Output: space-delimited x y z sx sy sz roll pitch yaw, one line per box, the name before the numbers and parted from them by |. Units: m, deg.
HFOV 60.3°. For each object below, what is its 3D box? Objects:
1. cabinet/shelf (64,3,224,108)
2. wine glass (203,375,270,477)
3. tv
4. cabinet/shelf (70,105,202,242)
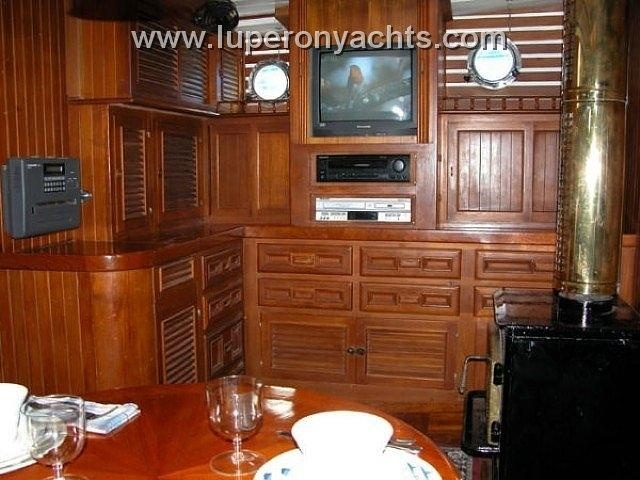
cabinet/shelf | -0.958 -1.008 3.131 0.382 0.514 0.869 4 11 34
wine glass | -0.181 0.392 1.185 0.120 0.171 0.134 -4 9 -7
tv | 0.321 -0.959 3.567 0.701 0.550 0.391 4 21 11
cabinet/shelf | -1.058 -0.390 3.315 0.256 0.691 1.024 3 7 14
